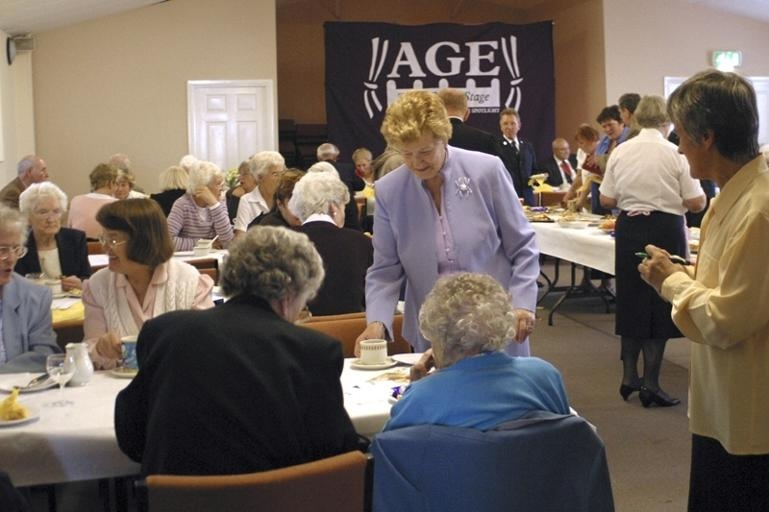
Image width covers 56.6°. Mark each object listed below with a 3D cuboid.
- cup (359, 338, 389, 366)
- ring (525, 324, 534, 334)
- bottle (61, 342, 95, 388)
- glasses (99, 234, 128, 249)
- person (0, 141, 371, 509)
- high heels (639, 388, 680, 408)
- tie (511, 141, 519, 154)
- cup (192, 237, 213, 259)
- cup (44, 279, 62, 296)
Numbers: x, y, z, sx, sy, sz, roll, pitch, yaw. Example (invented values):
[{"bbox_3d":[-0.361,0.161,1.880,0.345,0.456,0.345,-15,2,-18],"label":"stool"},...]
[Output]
[{"bbox_3d":[-0.047,0.436,3.288,0.100,0.090,0.110,0,-1,-1],"label":"cup"},{"bbox_3d":[0.627,0.303,3.070,0.019,0.052,0.034,32,-29,-34],"label":"ring"},{"bbox_3d":[-1.275,0.471,3.082,0.116,0.198,0.165,-2,-1,1],"label":"bottle"},{"bbox_3d":[-1.272,-0.078,3.353,0.074,0.027,0.080,10,10,30],"label":"glasses"},{"bbox_3d":[-0.520,0.340,2.490,0.795,0.834,0.449,-5,10,-26],"label":"person"},{"bbox_3d":[1.924,0.992,4.964,0.230,0.117,0.132,-5,3,-7],"label":"high heels"},{"bbox_3d":[1.783,-1.500,9.606,0.104,0.169,0.066,-6,-11,0],"label":"tie"},{"bbox_3d":[-1.455,-0.083,5.721,0.137,0.149,0.159,0,-12,0],"label":"cup"},{"bbox_3d":[-2.023,0.189,4.362,0.086,0.098,0.094,-1,0,0],"label":"cup"}]
